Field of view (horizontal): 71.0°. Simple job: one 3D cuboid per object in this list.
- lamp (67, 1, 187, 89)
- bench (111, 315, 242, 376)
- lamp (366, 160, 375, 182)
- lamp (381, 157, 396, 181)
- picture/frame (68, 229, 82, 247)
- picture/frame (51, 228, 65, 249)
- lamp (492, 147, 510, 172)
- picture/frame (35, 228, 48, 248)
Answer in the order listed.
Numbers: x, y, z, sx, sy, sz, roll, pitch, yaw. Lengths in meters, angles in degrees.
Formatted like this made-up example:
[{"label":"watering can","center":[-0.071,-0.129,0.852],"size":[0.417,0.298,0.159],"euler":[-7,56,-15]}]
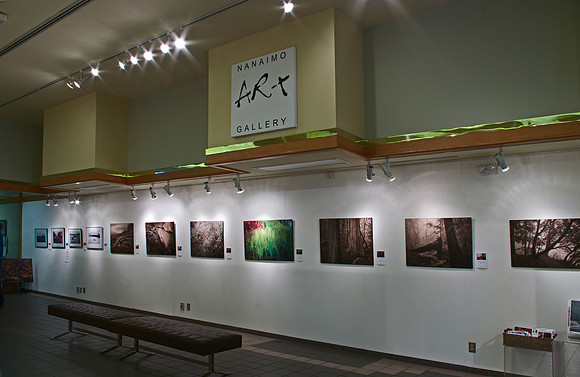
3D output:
[{"label":"lamp","center":[-4.052,-3.604,10.016],"size":[3.113,0.376,0.283],"euler":[-20,-41,34]},{"label":"bench","center":[-2.675,3.788,9.668],"size":[3.090,1.098,0.883],"euler":[1,7,29]},{"label":"lamp","center":[1.980,-0.405,10.085],"size":[0.229,0.541,0.740],"euler":[-1,6,10]},{"label":"lamp","center":[2.366,-0.447,9.874],"size":[0.323,0.606,0.760],"euler":[-1,6,15]},{"label":"picture/frame","center":[-8.609,1.981,16.368],"size":[1.018,0.798,0.229],"euler":[3,7,41]},{"label":"picture/frame","center":[-9.654,2.053,17.013],"size":[0.821,0.903,0.063],"euler":[-7,-10,32]},{"label":"lamp","center":[4.599,-0.623,8.886],"size":[0.297,0.562,0.785],"euler":[1,6,28]},{"label":"picture/frame","center":[-10.799,2.123,17.724],"size":[0.840,0.903,0.068],"euler":[4,8,29]}]
